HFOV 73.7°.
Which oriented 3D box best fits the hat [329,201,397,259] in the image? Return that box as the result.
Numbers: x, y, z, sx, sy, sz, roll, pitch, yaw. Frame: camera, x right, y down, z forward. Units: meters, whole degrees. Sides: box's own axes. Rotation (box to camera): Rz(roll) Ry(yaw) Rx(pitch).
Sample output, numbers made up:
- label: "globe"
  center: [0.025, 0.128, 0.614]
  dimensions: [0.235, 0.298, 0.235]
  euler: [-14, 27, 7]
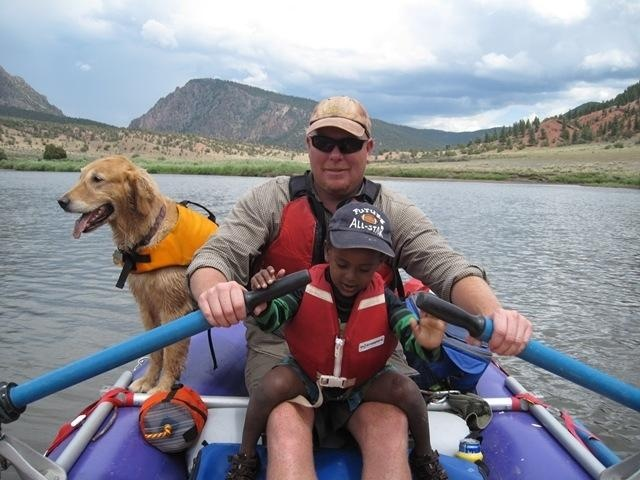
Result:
- label: "hat"
  center: [0.208, -0.047, 2.036]
  dimensions: [0.232, 0.167, 0.331]
  euler: [10, -1, -6]
